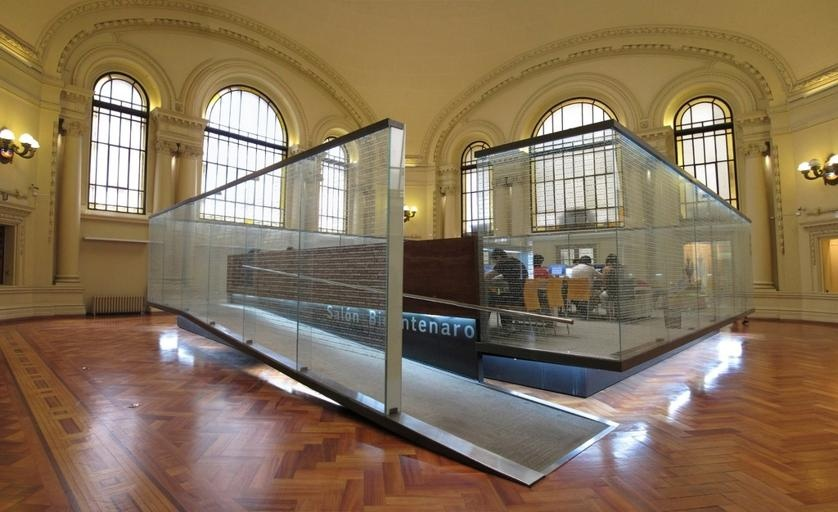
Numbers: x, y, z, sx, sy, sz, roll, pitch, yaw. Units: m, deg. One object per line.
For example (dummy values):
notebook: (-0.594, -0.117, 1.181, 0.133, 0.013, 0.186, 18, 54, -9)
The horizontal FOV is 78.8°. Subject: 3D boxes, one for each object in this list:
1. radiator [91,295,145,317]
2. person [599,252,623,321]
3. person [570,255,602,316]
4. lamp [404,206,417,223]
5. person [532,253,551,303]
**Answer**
radiator: (-8.503, 1.407, 14.624, 1.294, 0.495, 0.230, 3, -5, -25)
person: (2.851, 0.456, 7.577, 0.274, 0.946, 0.112, 0, -5, 18)
person: (2.508, 0.472, 7.732, 0.425, 0.954, 0.122, -3, -6, 40)
lamp: (-0.330, -1.701, 20.652, 0.411, 0.661, 0.802, 1, -4, 4)
person: (1.918, 0.408, 8.151, 0.219, 0.845, 0.105, -1, -2, 39)
